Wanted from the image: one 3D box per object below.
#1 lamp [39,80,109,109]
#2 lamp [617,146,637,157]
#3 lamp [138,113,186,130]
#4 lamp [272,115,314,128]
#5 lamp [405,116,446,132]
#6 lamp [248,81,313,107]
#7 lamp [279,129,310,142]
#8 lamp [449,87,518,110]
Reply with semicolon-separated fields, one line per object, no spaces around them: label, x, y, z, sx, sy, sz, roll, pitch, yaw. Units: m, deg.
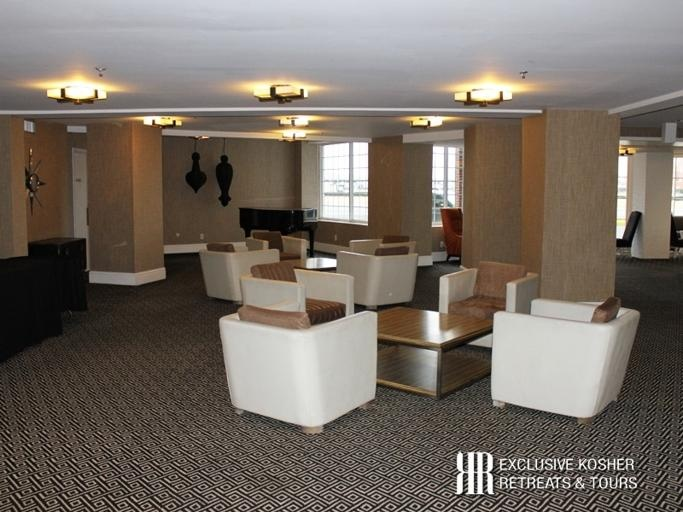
lamp;-3.153;-1.958;5.737;0.447;0.178;0.414;5;17;13
lamp;7.748;-2.819;12.884;0.382;0.125;3.117;5;9;30
lamp;-3.085;-2.386;8.395;0.595;0.217;1.280;-3;8;-18
lamp;-0.888;-2.528;9.029;0.500;0.126;1.525;-1;8;-9
lamp;1.516;-2.356;8.399;0.384;0.127;0.368;4;9;27
lamp;-0.723;-2.013;5.860;0.545;0.164;0.371;6;10;38
lamp;-1.061;-2.845;11.187;0.918;0.183;0.762;0;12;-3
lamp;1.807;-2.023;6.044;0.704;0.187;0.313;1;8;10
